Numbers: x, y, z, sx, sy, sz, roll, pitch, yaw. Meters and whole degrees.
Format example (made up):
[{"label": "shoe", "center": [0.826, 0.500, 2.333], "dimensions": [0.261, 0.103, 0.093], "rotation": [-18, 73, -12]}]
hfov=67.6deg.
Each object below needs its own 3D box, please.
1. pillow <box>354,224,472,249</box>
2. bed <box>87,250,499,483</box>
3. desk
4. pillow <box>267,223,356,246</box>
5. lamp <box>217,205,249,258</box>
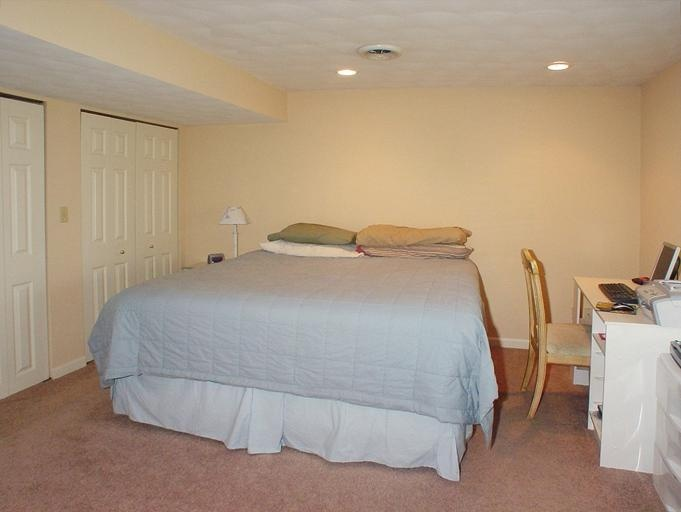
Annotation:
[{"label": "pillow", "center": [0.669, -0.185, 4.749], "dimensions": [1.020, 0.198, 0.307], "rotation": [2, 9, 12]}, {"label": "bed", "center": [-0.207, 0.694, 3.507], "dimensions": [2.418, 1.034, 1.014], "rotation": [2, 10, 12]}, {"label": "desk", "center": [1.725, 0.738, 3.067], "dimensions": [0.304, 0.534, 1.147], "rotation": [3, 8, 22]}, {"label": "pillow", "center": [-0.246, -0.201, 4.905], "dimensions": [0.548, 0.125, 0.308], "rotation": [2, 1, 13]}, {"label": "lamp", "center": [-1.081, -0.240, 5.259], "dimensions": [0.273, 0.541, 0.659], "rotation": [-2, 9, -13]}]
